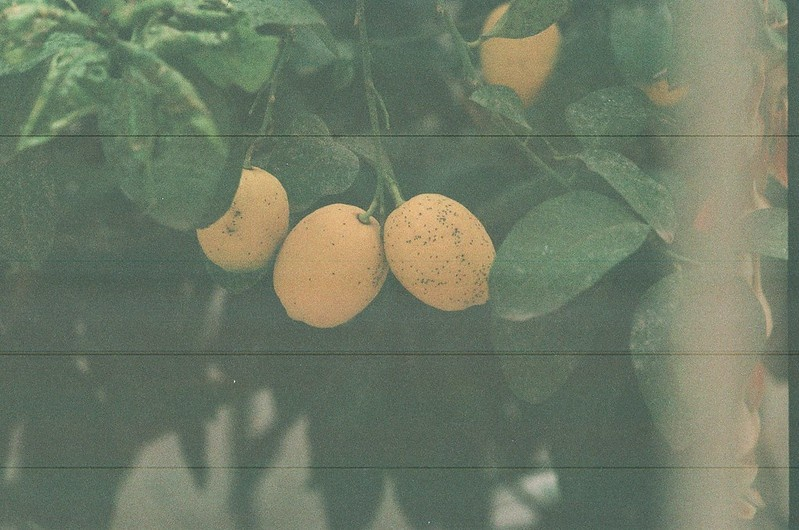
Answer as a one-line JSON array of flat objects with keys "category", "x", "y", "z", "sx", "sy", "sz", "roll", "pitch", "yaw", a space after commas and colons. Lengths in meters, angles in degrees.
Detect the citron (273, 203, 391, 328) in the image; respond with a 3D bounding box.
[{"category": "citron", "x": -0.286, "y": -0.007, "z": 5.827, "sx": 0.381, "sy": 0.386, "sz": 0.490, "roll": 41, "pitch": 96, "yaw": -19}]
